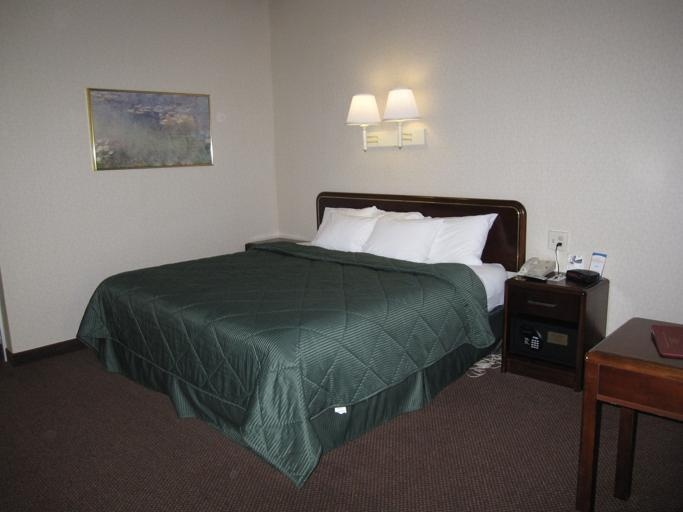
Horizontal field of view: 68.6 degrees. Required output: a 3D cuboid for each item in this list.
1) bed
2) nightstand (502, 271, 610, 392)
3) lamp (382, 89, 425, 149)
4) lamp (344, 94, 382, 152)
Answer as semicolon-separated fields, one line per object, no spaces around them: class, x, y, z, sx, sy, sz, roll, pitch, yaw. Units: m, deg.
bed;0.103;0.445;3.962;2.339;1.167;2.393;13;19;41
nightstand;1.690;0.559;4.366;0.775;1.220;0.800;3;5;36
lamp;0.614;-1.374;4.988;0.408;0.588;0.363;7;14;28
lamp;0.246;-1.410;5.315;0.346;0.592;0.417;1;12;3
